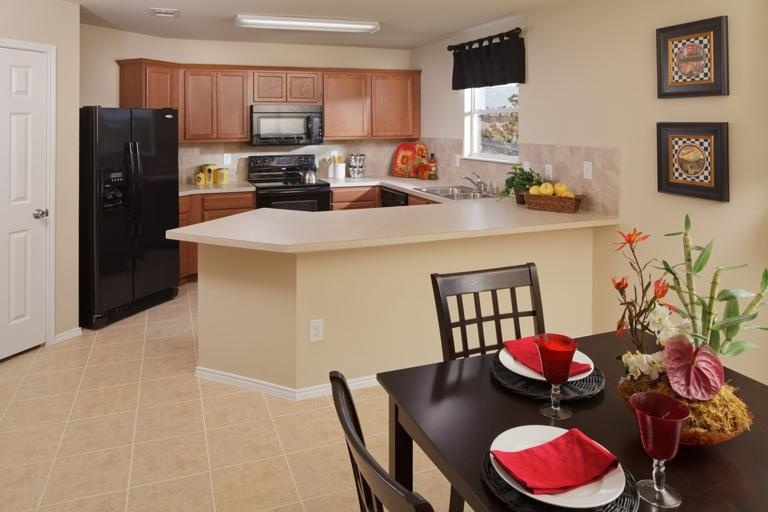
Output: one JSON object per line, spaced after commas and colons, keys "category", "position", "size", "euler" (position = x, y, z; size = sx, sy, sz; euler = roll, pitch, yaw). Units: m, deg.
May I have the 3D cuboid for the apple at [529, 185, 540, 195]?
{"category": "apple", "position": [1.285, -0.547, 4.487], "size": [0.064, 0.066, 0.085], "euler": [-30, -13, -13]}

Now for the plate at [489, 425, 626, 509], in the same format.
{"category": "plate", "position": [0.559, 0.695, 1.728], "size": [0.309, 0.137, 0.387], "euler": [-11, 17, -40]}

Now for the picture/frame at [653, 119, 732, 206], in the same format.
{"category": "picture/frame", "position": [2.089, -0.639, 3.510], "size": [0.045, 0.624, 0.604], "euler": [-4, 5, -24]}

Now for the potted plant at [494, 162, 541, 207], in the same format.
{"category": "potted plant", "position": [1.231, -0.662, 4.812], "size": [0.370, 0.345, 0.378], "euler": [7, 10, 28]}

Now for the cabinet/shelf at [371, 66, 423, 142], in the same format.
{"category": "cabinet/shelf", "position": [0.153, -1.986, 6.724], "size": [0.892, 1.059, 0.532], "euler": [-1, 5, -19]}

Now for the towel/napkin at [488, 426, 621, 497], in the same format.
{"category": "towel/napkin", "position": [0.569, 0.692, 1.717], "size": [0.266, 0.056, 0.190], "euler": [-9, 18, -23]}

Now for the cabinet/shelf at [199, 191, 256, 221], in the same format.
{"category": "cabinet/shelf", "position": [-1.775, -0.595, 5.978], "size": [0.529, 0.517, 0.342], "euler": [-3, 7, -31]}

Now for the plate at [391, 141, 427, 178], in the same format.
{"category": "plate", "position": [0.338, -1.258, 6.932], "size": [0.488, 0.475, 0.458], "euler": [-3, 5, -39]}

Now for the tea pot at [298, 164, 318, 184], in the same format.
{"category": "tea pot", "position": [-0.953, -1.038, 6.613], "size": [0.221, 0.290, 0.332], "euler": [0, 4, -10]}

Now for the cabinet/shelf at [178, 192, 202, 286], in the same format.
{"category": "cabinet/shelf", "position": [-2.192, -0.187, 5.808], "size": [0.156, 0.978, 0.395], "euler": [6, 14, 24]}

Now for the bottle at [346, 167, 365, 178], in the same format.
{"category": "bottle", "position": [-0.412, -1.108, 6.892], "size": [0.326, 0.151, 0.176], "euler": [12, 18, 43]}

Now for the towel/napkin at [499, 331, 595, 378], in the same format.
{"category": "towel/napkin", "position": [0.638, 0.373, 2.207], "size": [0.203, 0.049, 0.281], "euler": [-3, 9, -15]}

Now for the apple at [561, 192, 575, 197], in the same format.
{"category": "apple", "position": [1.526, -0.503, 4.298], "size": [0.078, 0.043, 0.077], "euler": [-8, 13, -35]}

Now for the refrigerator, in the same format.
{"category": "refrigerator", "position": [-2.471, -0.410, 5.012], "size": [0.300, 1.969, 1.113], "euler": [5, 14, 22]}

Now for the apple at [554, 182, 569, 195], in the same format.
{"category": "apple", "position": [1.484, -0.557, 4.379], "size": [0.124, 0.130, 0.129], "euler": [-4, 10, 19]}

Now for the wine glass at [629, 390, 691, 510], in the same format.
{"category": "wine glass", "position": [0.882, 0.611, 1.697], "size": [0.175, 0.332, 0.197], "euler": [5, 14, 21]}

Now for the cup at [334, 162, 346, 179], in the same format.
{"category": "cup", "position": [-0.578, -1.126, 6.848], "size": [0.151, 0.214, 0.304], "euler": [-1, 13, -5]}

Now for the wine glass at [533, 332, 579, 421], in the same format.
{"category": "wine glass", "position": [0.656, 0.444, 2.015], "size": [0.149, 0.315, 0.203], "euler": [5, 14, 19]}

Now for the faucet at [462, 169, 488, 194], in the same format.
{"category": "faucet", "position": [0.987, -0.790, 5.662], "size": [0.120, 0.152, 0.416], "euler": [2, -7, 44]}

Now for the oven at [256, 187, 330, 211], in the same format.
{"category": "oven", "position": [-1.065, -0.686, 6.223], "size": [0.894, 0.285, 0.221], "euler": [-2, 13, -11]}

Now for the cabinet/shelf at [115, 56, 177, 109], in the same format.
{"category": "cabinet/shelf", "position": [-2.555, -1.864, 5.674], "size": [0.625, 0.494, 0.319], "euler": [-6, 14, -26]}

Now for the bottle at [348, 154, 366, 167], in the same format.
{"category": "bottle", "position": [-0.365, -1.267, 6.894], "size": [0.232, 0.173, 0.319], "euler": [0, 13, -3]}

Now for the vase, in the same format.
{"category": "vase", "position": [1.059, 0.523, 1.908], "size": [0.369, 0.127, 0.381], "euler": [-11, -19, -7]}

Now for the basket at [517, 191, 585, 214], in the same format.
{"category": "basket", "position": [1.391, -0.448, 4.383], "size": [0.473, 0.136, 0.131], "euler": [10, 16, 35]}

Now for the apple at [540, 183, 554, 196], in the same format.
{"category": "apple", "position": [1.368, -0.557, 4.404], "size": [0.082, 0.082, 0.098], "euler": [-25, -32, 17]}
